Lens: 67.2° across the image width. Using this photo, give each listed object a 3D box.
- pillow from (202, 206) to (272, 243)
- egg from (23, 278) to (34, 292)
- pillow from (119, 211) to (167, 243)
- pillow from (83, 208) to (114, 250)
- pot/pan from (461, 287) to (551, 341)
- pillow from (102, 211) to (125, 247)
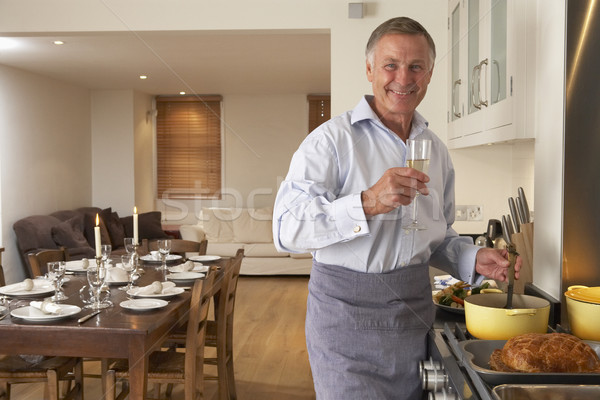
[{"bbox_3d":[-0.978,0.393,7.395,0.978,0.567,0.268,4,-2,1],"label":"pillow"},{"bbox_3d":[-1.799,0.557,2.977,0.075,0.086,0.075,1,3,4],"label":"egg"},{"bbox_3d":[-2.229,0.379,6.358,0.471,0.308,0.168,-3,-34,-23],"label":"pillow"},{"bbox_3d":[-2.496,0.365,5.600,0.142,0.462,0.461,-14,5,9],"label":"pillow"},{"bbox_3d":[0.783,0.445,1.732,0.208,0.094,0.238,-2,0,-1],"label":"pot/pan"},{"bbox_3d":[-2.709,0.400,6.574,0.149,0.483,0.489,-28,-28,8],"label":"pillow"}]
